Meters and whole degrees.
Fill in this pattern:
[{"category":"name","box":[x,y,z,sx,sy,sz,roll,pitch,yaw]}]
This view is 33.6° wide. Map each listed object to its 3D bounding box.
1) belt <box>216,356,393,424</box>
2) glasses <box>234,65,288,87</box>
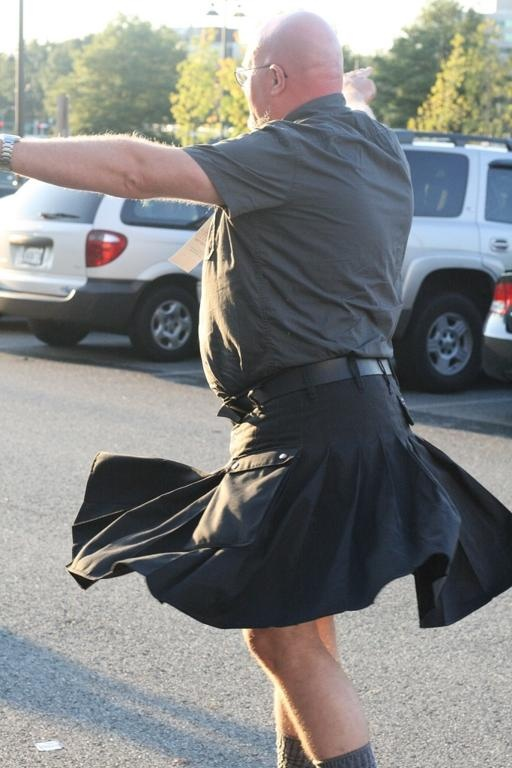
[{"category":"belt","box":[0.079,-0.004,1.678,0.212,0.055,0.184,-13,1,21]},{"category":"glasses","box":[0.002,-0.639,1.748,0.089,0.022,0.084,0,2,-24]}]
